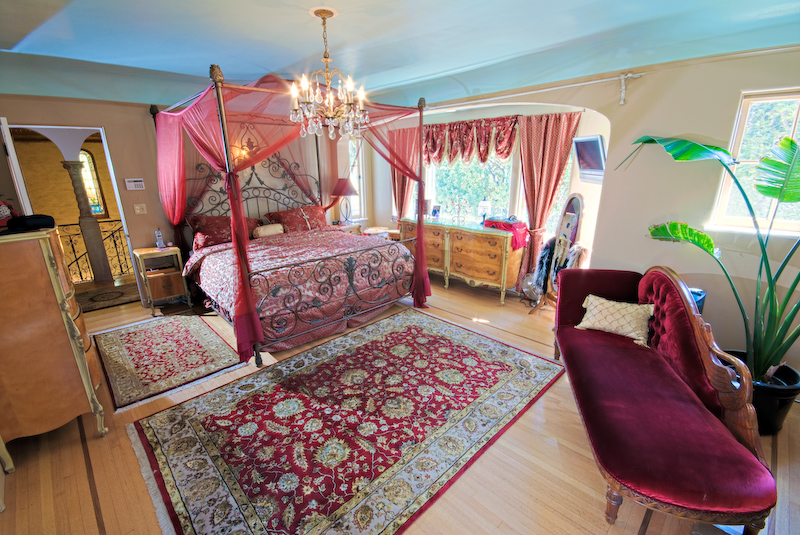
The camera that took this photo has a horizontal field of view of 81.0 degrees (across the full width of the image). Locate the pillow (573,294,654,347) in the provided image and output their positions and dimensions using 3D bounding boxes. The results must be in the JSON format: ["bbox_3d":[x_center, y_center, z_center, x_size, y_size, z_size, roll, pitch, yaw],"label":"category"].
[{"bbox_3d":[2.059,0.439,4.427,0.490,0.458,0.147,13,-15,35],"label":"pillow"}]

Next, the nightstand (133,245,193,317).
[{"bbox_3d":[-3.170,0.175,6.301,0.888,0.784,0.880,-12,4,-5],"label":"nightstand"}]

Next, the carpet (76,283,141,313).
[{"bbox_3d":[-4.079,0.406,6.556,0.650,0.161,0.695,-12,20,-43],"label":"carpet"}]

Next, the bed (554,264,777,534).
[{"bbox_3d":[2.167,0.997,4.046,1.323,1.712,1.720,0,16,4],"label":"bed"}]

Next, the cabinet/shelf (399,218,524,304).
[{"bbox_3d":[0.841,-0.230,6.813,1.860,0.968,0.633,16,27,38],"label":"cabinet/shelf"}]

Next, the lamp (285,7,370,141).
[{"bbox_3d":[-0.843,-2.110,5.440,0.863,1.166,1.988,-4,16,-9],"label":"lamp"}]

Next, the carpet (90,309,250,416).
[{"bbox_3d":[-2.686,0.921,5.335,1.200,0.022,2.039,-17,22,-34],"label":"carpet"}]
